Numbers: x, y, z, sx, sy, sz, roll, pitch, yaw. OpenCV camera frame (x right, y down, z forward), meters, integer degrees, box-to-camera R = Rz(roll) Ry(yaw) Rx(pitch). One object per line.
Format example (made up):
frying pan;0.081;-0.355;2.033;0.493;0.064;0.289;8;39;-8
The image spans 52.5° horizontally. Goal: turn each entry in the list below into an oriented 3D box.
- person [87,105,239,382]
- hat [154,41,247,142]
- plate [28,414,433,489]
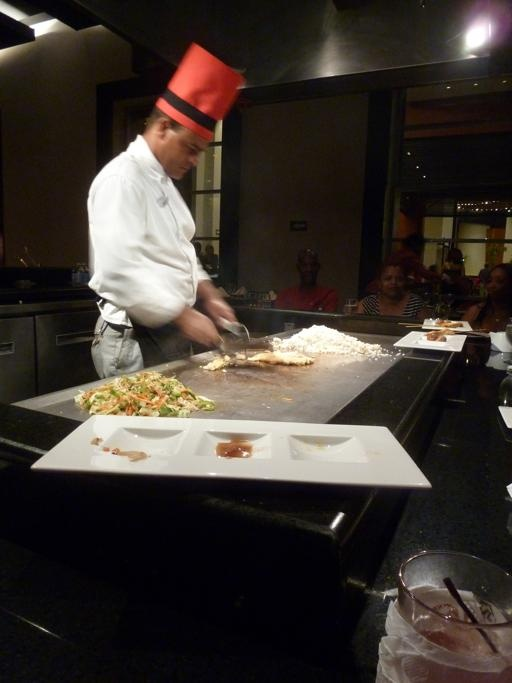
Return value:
person;-0.328;-0.322;1.638;0.411;0.870;0.576;-2;6;-12
hat;-0.204;-0.794;1.703;0.222;0.201;0.249;0;23;-47
plate;-0.021;0.121;0.558;0.278;0.027;0.151;0;10;6
